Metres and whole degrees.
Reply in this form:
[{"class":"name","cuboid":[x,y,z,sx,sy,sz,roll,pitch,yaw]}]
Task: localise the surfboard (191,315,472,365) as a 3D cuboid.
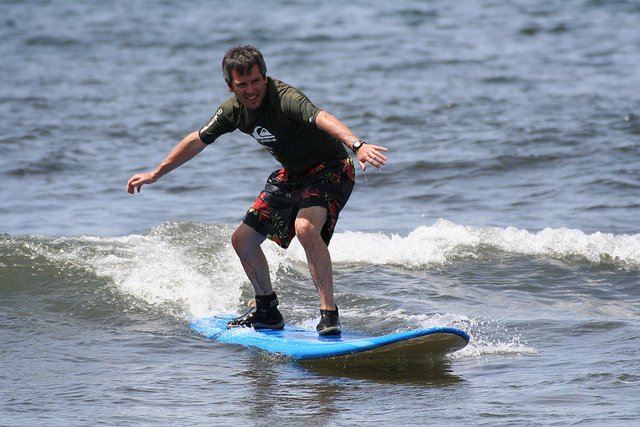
[{"class":"surfboard","cuboid":[0.028,2.670,25.917,6.620,0.519,1.766,-2,-1,30]}]
